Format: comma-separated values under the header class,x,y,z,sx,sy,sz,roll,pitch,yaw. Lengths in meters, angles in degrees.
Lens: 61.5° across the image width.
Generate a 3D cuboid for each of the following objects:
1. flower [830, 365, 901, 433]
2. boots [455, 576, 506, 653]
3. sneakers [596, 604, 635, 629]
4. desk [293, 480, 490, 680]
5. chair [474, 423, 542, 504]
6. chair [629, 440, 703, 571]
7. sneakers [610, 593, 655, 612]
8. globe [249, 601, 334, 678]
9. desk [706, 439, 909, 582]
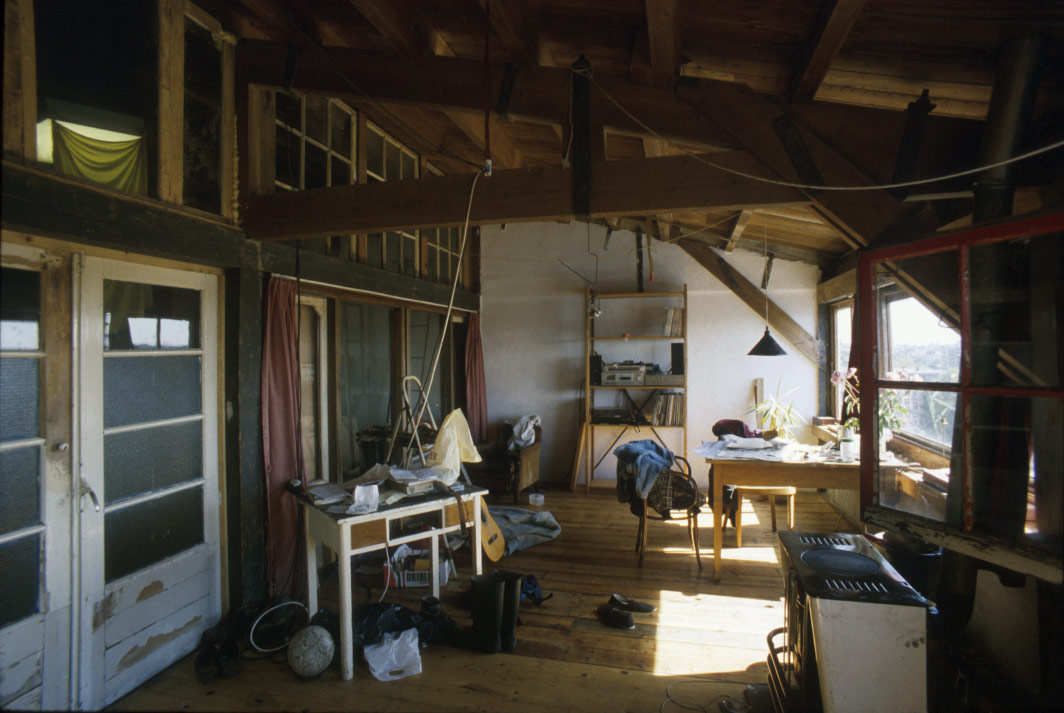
class,x,y,z,sx,sy,sz,roll,pitch,yaw
flower,2.495,0.339,6.691,0.578,0.526,0.518,-8,-1,23
boots,-0.305,1.761,6.392,0.366,0.541,0.283,13,22,27
sneakers,0.610,1.912,6.594,0.281,0.123,0.105,-8,0,45
desk,-1.114,1.446,6.698,1.131,1.375,1.473,-1,0,40
chair,-0.259,1.109,9.532,0.594,0.758,0.714,2,4,35
chair,1.129,1.247,7.515,0.653,0.953,0.628,-3,7,18
sneakers,0.766,1.844,6.772,0.320,0.111,0.120,0,-6,17
globe,-1.792,2.037,6.333,0.398,0.669,0.136,32,8,-38
desk,2.066,1.266,7.480,1.116,0.719,1.148,-1,-6,11
